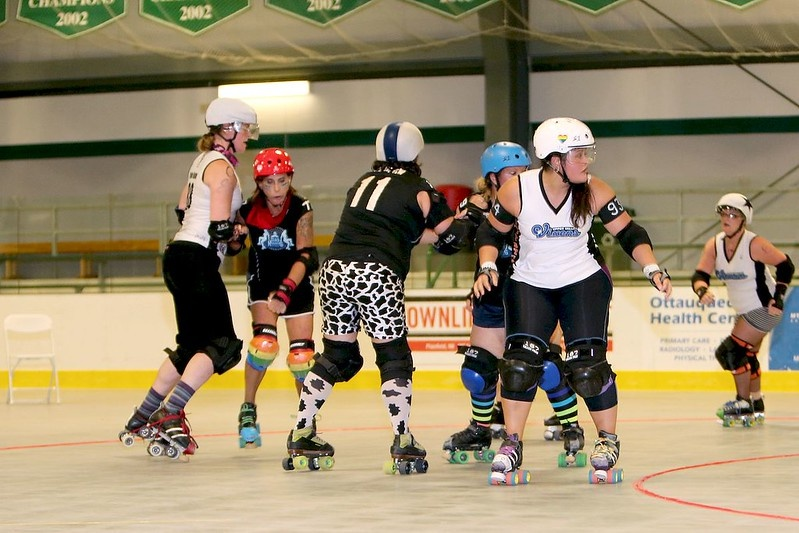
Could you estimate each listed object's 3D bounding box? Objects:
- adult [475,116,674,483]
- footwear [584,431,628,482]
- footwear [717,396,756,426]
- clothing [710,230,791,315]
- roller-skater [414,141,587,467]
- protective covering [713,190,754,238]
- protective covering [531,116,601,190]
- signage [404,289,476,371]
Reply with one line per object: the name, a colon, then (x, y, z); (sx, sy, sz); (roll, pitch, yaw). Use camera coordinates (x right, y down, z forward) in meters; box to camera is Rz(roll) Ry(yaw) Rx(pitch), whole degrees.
adult: (1.202, 0.225, 7.276); (1.267, 2.589, 1.061); (1, 3, 9)
footwear: (1.505, 1.395, 7.289); (0.271, 0.358, 0.219); (0, -2, -5)
footwear: (3.281, 1.428, 9.733); (0.344, 0.246, 0.346); (-1, -2, 19)
clothing: (3.669, 0.099, 10.511); (0.551, 1.011, 0.723); (-24, 5, -43)
roller-skater: (0.883, 0.299, 8.089); (1.084, 2.623, 1.039); (-1, -2, 14)
protective covering: (3.340, -0.594, 9.976); (0.346, 0.301, 0.286); (0, -2, 4)
protective covering: (1.220, -0.886, 7.405); (0.463, 0.476, 0.382); (-5, 4, 19)
signage: (0.603, 0.816, 13.324); (0.946, 1.134, 0.094); (-1, 25, 2)
